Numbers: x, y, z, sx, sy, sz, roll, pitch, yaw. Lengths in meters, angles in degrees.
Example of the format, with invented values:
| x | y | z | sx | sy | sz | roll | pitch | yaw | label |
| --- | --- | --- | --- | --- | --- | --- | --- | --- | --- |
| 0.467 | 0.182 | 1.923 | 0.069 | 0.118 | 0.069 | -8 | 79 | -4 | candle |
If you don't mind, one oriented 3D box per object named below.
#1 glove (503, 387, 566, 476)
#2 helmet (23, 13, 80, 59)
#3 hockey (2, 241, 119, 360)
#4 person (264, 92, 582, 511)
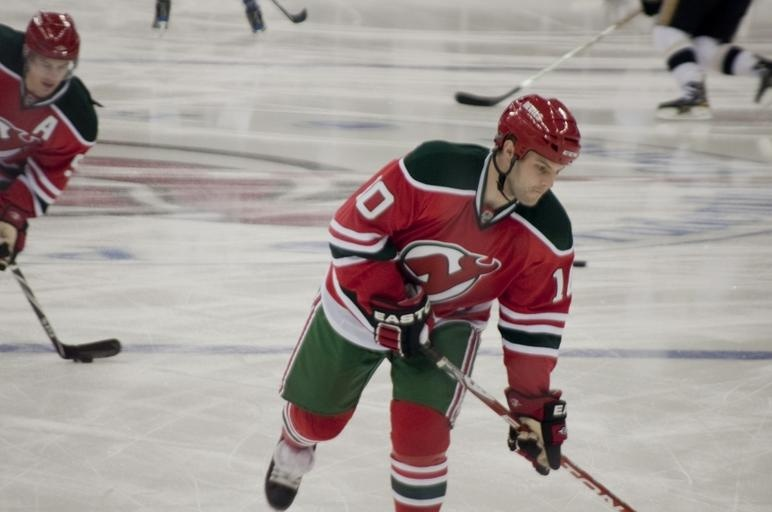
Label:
| x | y | z | sx | sy | sz | roll | pitch | yaw | label |
| --- | --- | --- | --- | --- | --- | --- | --- | --- | --- |
| 0.698 | 0.812 | 5.404 | 0.200 | 0.360 | 0.312 | -4 | 11 | -23 | glove |
| -1.785 | -1.174 | 6.305 | 0.256 | 0.259 | 0.277 | 9 | 38 | -19 | helmet |
| -1.776 | 0.293 | 6.277 | 0.439 | 0.183 | 0.673 | -20 | 63 | -32 | hockey |
| 0.224 | 0.221 | 5.294 | 1.283 | 1.908 | 0.557 | 3 | 19 | -6 | person |
